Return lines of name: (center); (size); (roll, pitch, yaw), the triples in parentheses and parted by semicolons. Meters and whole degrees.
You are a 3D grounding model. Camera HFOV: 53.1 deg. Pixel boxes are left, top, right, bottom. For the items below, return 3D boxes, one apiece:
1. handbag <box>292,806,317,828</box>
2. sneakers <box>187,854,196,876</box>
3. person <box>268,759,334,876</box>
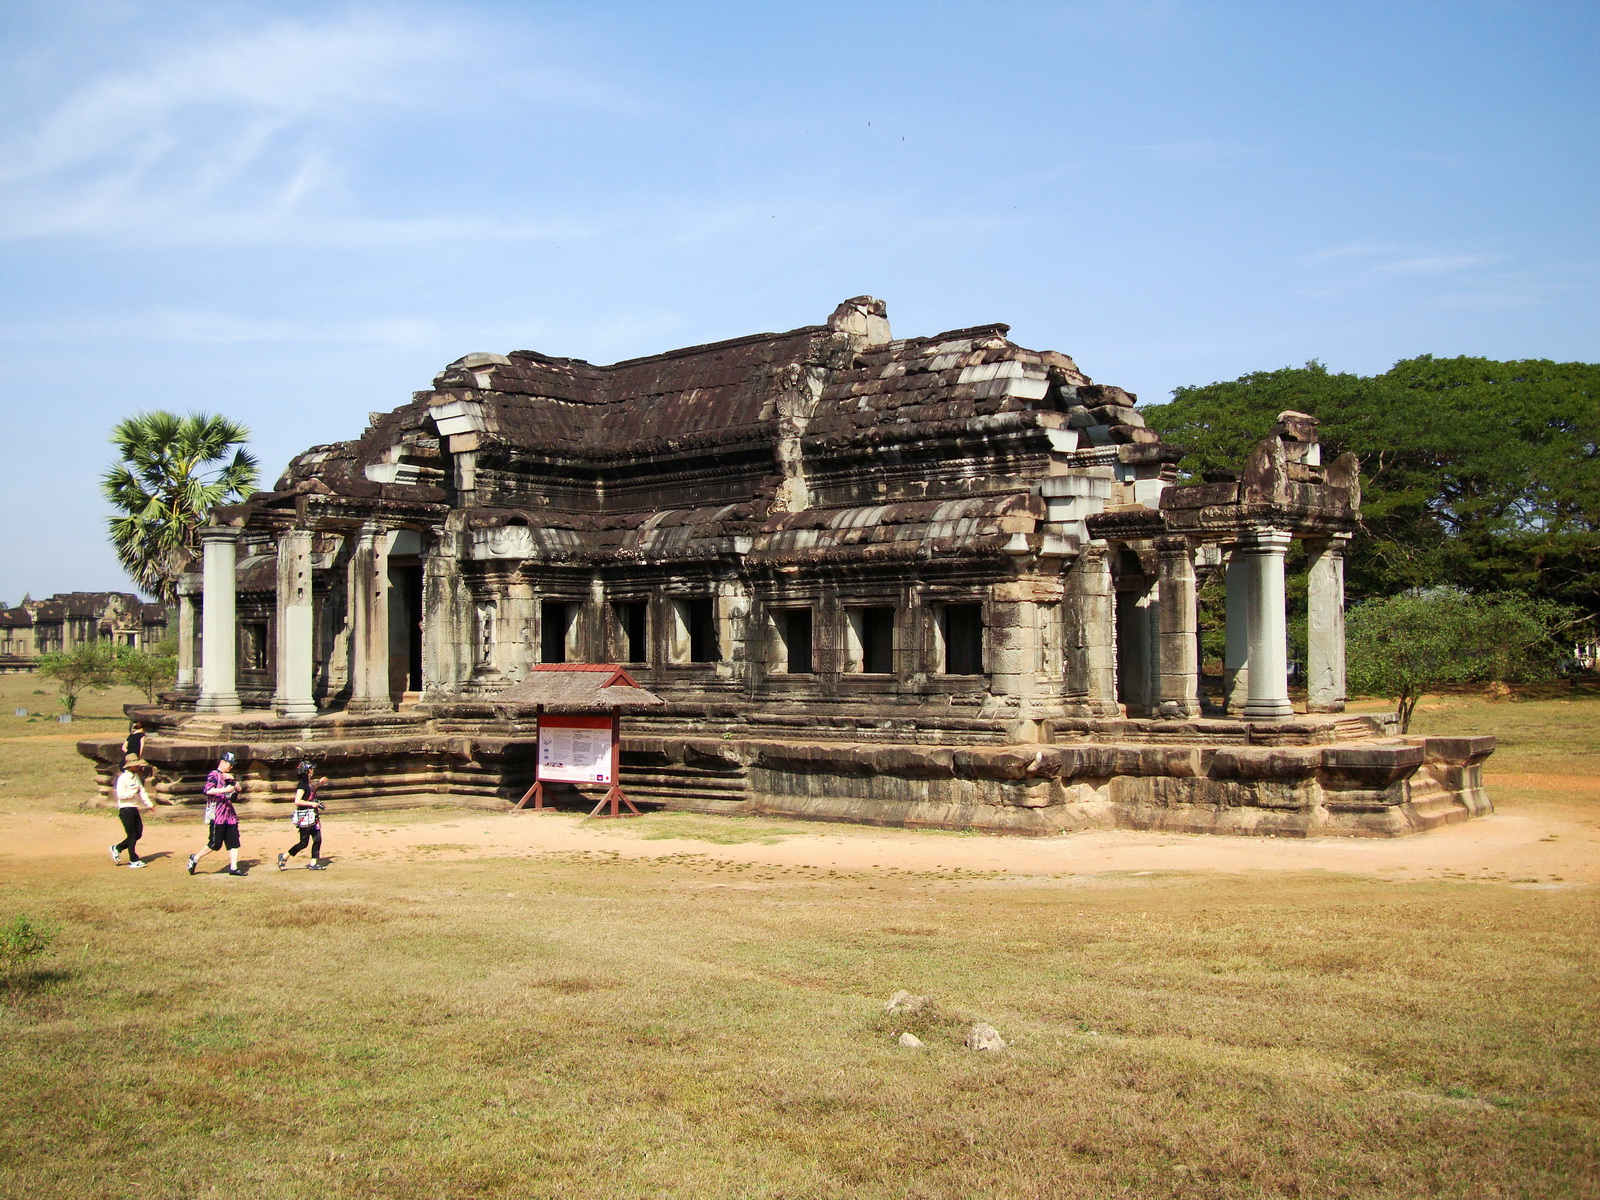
handbag: (-5.950, 2.608, 19.366); (0.360, 0.360, 0.202); (3, -6, -8)
sneakers: (-7.106, 3.083, 18.666); (0.097, 0.125, 0.320); (8, -36, -16)
person: (-6.284, 2.593, 20.087); (0.575, 1.425, 2.246); (-3, 8, -18)
